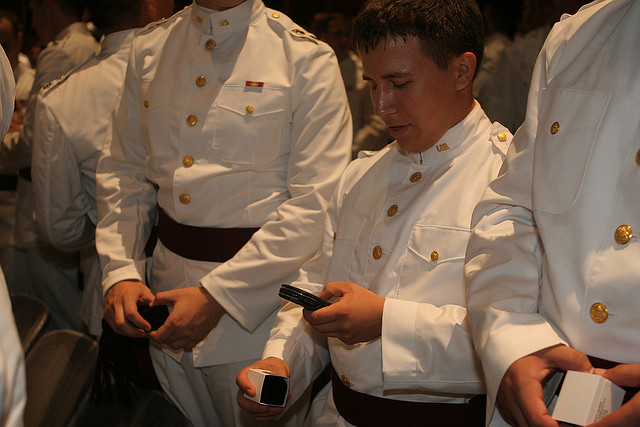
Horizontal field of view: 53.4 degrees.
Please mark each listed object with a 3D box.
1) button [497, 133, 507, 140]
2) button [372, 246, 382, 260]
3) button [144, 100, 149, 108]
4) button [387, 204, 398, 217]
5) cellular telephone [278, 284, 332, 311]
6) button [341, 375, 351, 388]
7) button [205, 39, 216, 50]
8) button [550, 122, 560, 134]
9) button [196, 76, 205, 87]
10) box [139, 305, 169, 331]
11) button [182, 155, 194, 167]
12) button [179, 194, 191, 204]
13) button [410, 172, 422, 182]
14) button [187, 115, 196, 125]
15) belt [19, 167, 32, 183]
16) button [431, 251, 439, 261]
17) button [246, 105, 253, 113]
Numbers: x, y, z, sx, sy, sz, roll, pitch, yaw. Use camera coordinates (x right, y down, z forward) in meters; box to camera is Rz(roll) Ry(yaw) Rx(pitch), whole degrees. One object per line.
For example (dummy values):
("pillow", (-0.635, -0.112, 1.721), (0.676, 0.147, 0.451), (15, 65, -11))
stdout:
("button", (0.628, -0.265, 2.175), (0.032, 0.024, 0.025), (-9, 12, 8))
("button", (0.194, 0.130, 2.137), (0.009, 0.038, 0.037), (8, -23, -39))
("button", (-0.715, -0.453, 2.615), (0.018, 0.023, 0.004), (0, -4, 35))
("button", (0.247, -0.011, 2.156), (0.032, 0.033, 0.009), (-21, -45, 36))
("cellular telephone", (-0.053, 0.277, 2.076), (0.100, 0.028, 0.103), (22, -6, -7))
("button", (0.090, 0.566, 2.148), (0.008, 0.032, 0.032), (-20, 20, -30))
("button", (-0.437, -0.676, 2.541), (0.037, 0.038, 0.010), (0, -5, 19))
("button", (0.673, -0.245, 1.815), (0.022, 0.030, 0.007), (11, -4, 44))
("button", (-0.475, -0.526, 2.529), (0.035, 0.040, 0.014), (-9, 12, 7))
("box", (-0.619, 0.387, 2.359), (0.091, 0.095, 0.038), (-5, -4, -19))
("button", (-0.519, -0.210, 2.506), (0.037, 0.039, 0.010), (-2, -13, 16))
("button", (-0.531, -0.058, 2.507), (0.043, 0.039, 0.010), (-6, 13, 22))
("button", (0.334, -0.126, 2.193), (0.043, 0.029, 0.022), (-8, 12, 14))
("button", (-0.505, -0.371, 2.506), (0.034, 0.037, 0.019), (-6, 13, 22))
("belt", (-1.740, -0.229, 3.751), (0.042, 0.091, 0.153), (-18, 14, -32))
("button", (0.374, 0.136, 2.057), (0.022, 0.027, 0.010), (-2, -15, 17))
("button", (-0.272, -0.409, 2.480), (0.019, 0.024, 0.025), (-1, -4, -5))
